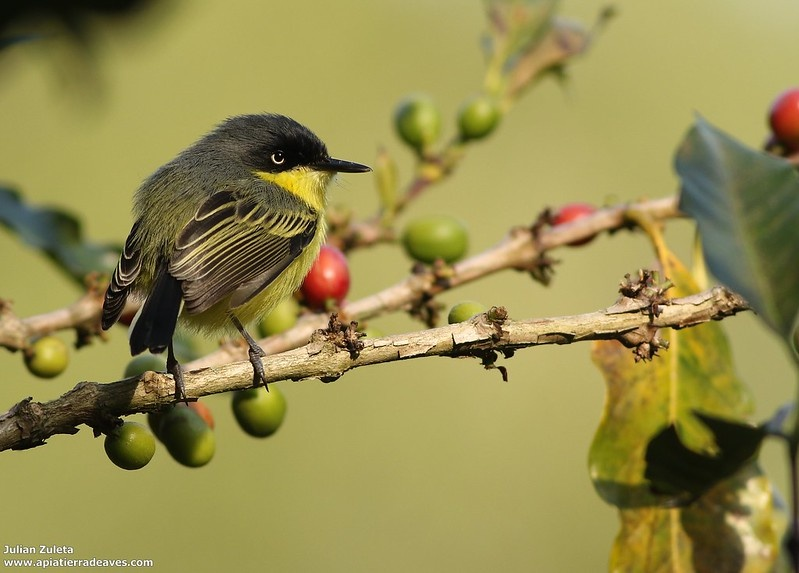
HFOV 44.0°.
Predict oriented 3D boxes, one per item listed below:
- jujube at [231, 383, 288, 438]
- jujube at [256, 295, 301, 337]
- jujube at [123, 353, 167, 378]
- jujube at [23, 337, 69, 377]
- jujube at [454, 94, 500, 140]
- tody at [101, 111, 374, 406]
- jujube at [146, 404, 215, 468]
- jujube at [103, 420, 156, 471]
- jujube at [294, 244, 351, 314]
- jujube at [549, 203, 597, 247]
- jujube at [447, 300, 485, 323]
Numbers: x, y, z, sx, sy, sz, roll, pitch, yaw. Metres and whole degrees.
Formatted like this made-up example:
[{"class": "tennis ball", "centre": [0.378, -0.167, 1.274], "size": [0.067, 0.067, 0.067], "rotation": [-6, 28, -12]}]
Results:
[{"class": "jujube", "centre": [-0.634, 0.562, 4.430], "size": [0.237, 0.226, 0.189], "rotation": [-4, -4, -6]}, {"class": "jujube", "centre": [-0.568, 0.159, 4.676], "size": [0.191, 0.223, 0.187], "rotation": [10, 25, -3]}, {"class": "jujube", "centre": [-1.131, 0.346, 4.392], "size": [0.174, 0.092, 0.150], "rotation": [-4, -5, -13]}, {"class": "jujube", "centre": [-1.664, 0.331, 4.643], "size": [0.191, 0.198, 0.176], "rotation": [-4, -5, -12]}, {"class": "jujube", "centre": [0.373, -0.787, 4.631], "size": [0.212, 0.194, 0.091], "rotation": [-5, -4, 5]}, {"class": "tody", "centre": [-0.763, 0.073, 4.623], "size": [1.030, 1.571, 1.318], "rotation": [2, 15, -14]}, {"class": "jujube", "centre": [-0.960, 0.655, 4.349], "size": [0.268, 0.274, 0.193], "rotation": [-3, -5, -15]}, {"class": "jujube", "centre": [-1.061, 0.640, 3.997], "size": [0.192, 0.194, 0.199], "rotation": [-1, -6, -37]}, {"class": "jujube", "centre": [-0.339, -0.006, 4.800], "size": [0.313, 0.367, 0.309], "rotation": [-3, -21, 9]}, {"class": "jujube", "centre": [0.803, -0.313, 4.691], "size": [0.175, 0.134, 0.223], "rotation": [27, 6, -15]}, {"class": "jujube", "centre": [0.273, 0.108, 4.061], "size": [0.150, 0.093, 0.187], "rotation": [-5, -5, 4]}]
